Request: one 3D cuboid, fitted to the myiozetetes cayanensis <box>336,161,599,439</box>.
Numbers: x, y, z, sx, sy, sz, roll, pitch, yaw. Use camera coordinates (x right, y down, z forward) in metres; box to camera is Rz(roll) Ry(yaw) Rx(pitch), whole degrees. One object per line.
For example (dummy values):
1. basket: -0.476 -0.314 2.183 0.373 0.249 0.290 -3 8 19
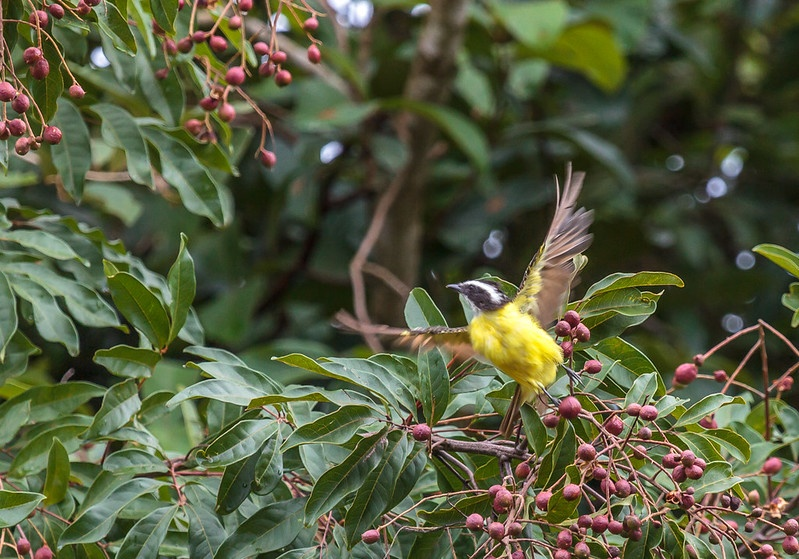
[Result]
1. myiozetetes cayanensis: 0.312 0.120 2.912 0.411 0.642 0.469 11 87 -29
